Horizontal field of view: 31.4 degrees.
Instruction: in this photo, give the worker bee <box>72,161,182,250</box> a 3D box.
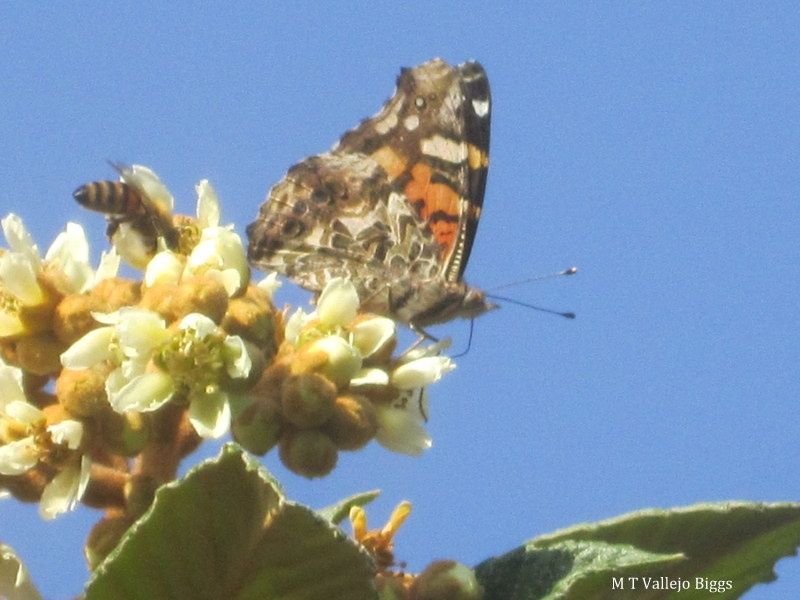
[{"bbox_3d":[-1.012,-0.317,5.287,0.320,0.163,0.298,38,-5,-30],"label":"worker bee"}]
